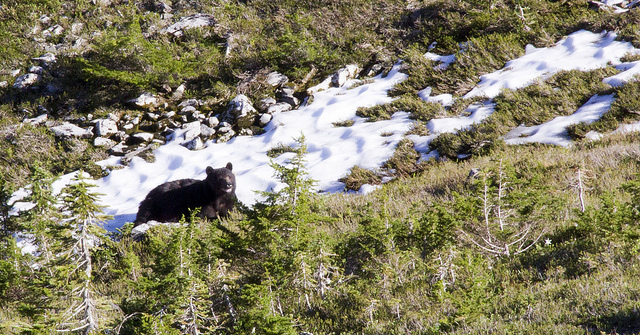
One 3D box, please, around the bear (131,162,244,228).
[{"bbox_3d":[-7.134,1.866,57.944,6.133,2.983,3.133,-12,3,14],"label":"bear"}]
